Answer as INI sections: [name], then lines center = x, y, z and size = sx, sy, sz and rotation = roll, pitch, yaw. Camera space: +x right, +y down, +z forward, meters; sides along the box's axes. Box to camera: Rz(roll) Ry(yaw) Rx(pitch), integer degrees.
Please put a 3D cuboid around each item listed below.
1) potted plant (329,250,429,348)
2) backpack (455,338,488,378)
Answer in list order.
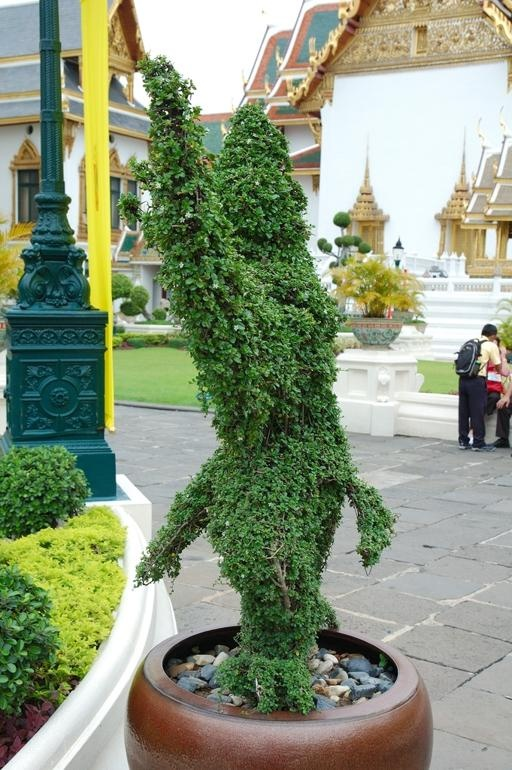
[potted plant]
center = 1.970, -1.309, 11.839
size = 1.333, 1.427, 1.339
rotation = -3, 9, -31
[backpack]
center = 2.482, -0.317, 8.966
size = 0.295, 0.461, 0.305
rotation = 3, 5, 13
